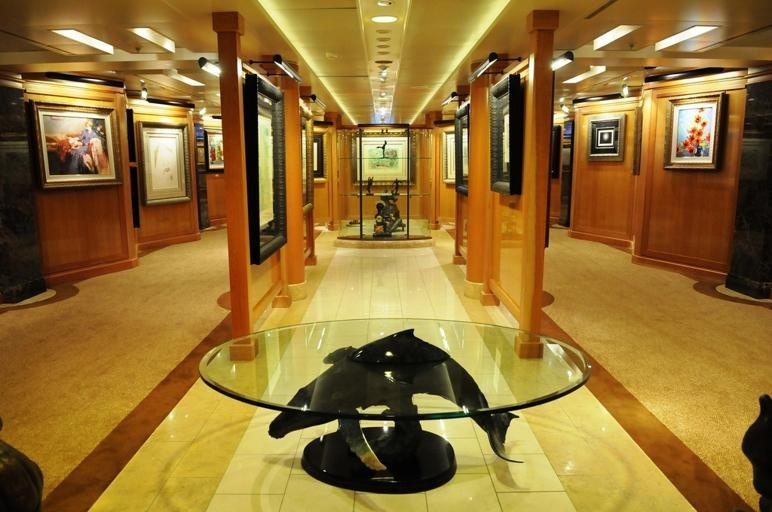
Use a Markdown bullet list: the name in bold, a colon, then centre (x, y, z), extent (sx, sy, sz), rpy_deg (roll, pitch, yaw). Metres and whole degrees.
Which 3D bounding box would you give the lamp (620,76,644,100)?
- **lamp**: centre (4.505, -3.051, 9.153), extent (0.325, 0.436, 0.562), rpy_deg (8, 12, 30)

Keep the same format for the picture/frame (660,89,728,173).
- **picture/frame**: centre (5.017, -1.986, 8.160), extent (0.220, 1.160, 0.950), rpy_deg (-8, 15, -28)

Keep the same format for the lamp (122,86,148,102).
- **lamp**: centre (-4.659, -2.976, 9.275), extent (0.381, 0.190, 0.553), rpy_deg (-2, 3, -43)

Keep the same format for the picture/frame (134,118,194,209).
- **picture/frame**: centre (-4.756, -1.984, 10.853), extent (0.283, 1.690, 1.231), rpy_deg (4, 14, 21)

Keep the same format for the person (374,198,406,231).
- **person**: centre (0.129, -0.949, 11.678), extent (0.743, 0.751, 0.745), rpy_deg (-4, 9, -15)

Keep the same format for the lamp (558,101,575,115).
- **lamp**: centre (4.320, -3.500, 11.987), extent (0.341, 0.364, 0.295), rpy_deg (-6, 21, -4)

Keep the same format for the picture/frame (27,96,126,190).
- **picture/frame**: centre (-5.027, -1.810, 8.040), extent (0.196, 1.465, 1.636), rpy_deg (3, 10, 30)

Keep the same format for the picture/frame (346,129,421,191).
- **picture/frame**: centre (-0.042, -2.437, 12.746), extent (2.260, 2.051, 1.243), rpy_deg (0, 5, 1)
